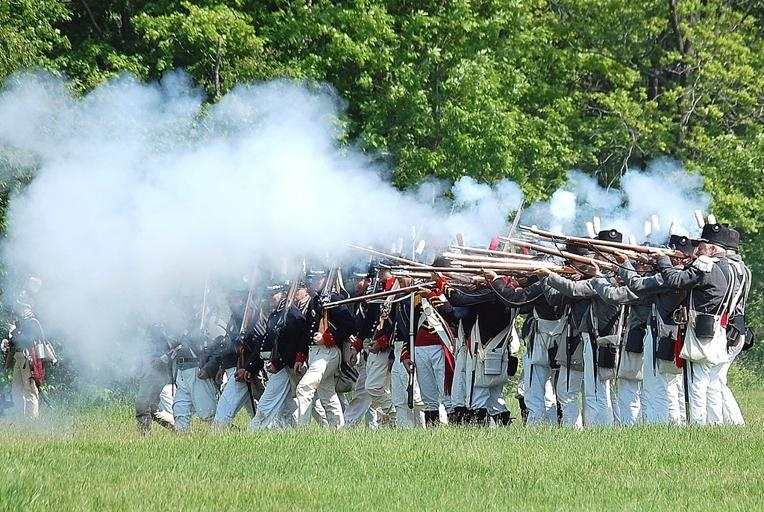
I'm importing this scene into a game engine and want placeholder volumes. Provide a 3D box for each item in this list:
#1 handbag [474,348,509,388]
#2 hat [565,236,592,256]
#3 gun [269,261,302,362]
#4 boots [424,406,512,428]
[{"bbox_3d":[1.268,1.348,13.937,0.400,0.526,0.293,7,2,-17],"label":"handbag"},{"bbox_3d":[2.235,-0.125,13.473,0.213,0.210,0.215,10,-6,-18],"label":"hat"},{"bbox_3d":[-1.191,0.711,14.377,0.210,1.242,0.128,18,0,34],"label":"gun"},{"bbox_3d":[0.996,1.954,14.101,0.923,0.289,0.379,3,7,14],"label":"boots"}]
